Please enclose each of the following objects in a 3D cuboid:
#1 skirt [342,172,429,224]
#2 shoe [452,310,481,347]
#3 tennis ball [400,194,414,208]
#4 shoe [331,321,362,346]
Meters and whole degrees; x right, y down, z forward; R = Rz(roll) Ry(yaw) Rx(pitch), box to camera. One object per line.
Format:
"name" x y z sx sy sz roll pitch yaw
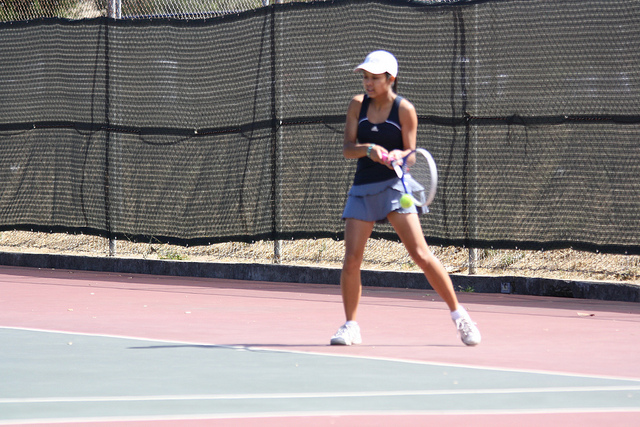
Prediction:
"skirt" 0.543 -0.085 8.461 0.583 0.209 0.430 -10 -10 35
"shoe" 1.253 1.002 8.489 0.165 0.301 0.119 -39 -39 8
"tennis ball" 0.723 -0.110 8.368 0.098 0.103 0.138 -6 14 23
"shoe" 0.216 1.038 8.513 0.127 0.147 0.312 -5 -14 26
